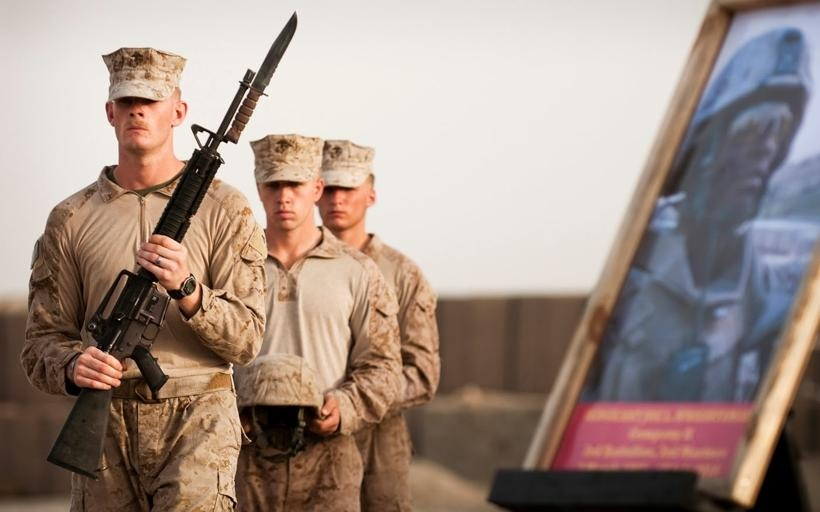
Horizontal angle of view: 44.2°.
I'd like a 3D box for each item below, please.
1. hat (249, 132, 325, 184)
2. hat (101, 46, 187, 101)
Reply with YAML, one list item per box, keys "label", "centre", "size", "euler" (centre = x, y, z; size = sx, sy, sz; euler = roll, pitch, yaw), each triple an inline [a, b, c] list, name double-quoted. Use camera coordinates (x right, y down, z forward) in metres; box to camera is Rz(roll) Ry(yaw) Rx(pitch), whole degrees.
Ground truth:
- label: "hat"
  centre: [-0.895, -0.677, 7.288]
  size: [0.505, 0.333, 0.594]
  euler: [-3, 1, 1]
- label: "hat"
  centre: [-1.519, -1.011, 5.753]
  size: [0.452, 0.281, 0.483]
  euler: [-2, 4, -4]
